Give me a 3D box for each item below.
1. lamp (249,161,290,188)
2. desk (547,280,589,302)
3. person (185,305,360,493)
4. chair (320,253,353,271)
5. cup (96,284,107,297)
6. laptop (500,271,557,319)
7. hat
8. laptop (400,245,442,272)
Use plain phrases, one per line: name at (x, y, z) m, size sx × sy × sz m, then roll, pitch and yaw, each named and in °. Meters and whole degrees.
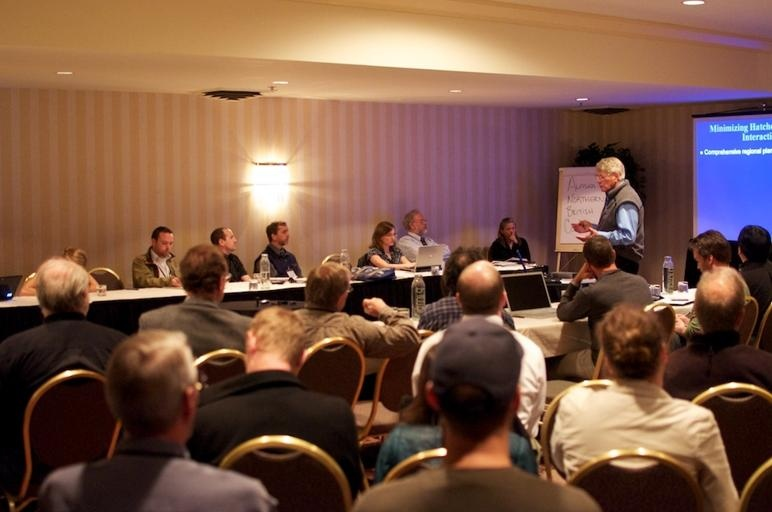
lamp at (-1.520, -1.095, 8.250) m, size 0.585 × 0.410 × 0.304 m, roll -2°, pitch 11°, yaw -16°
desk at (1.616, 0.315, 5.560) m, size 0.183 × 0.241 × 0.346 m, roll 0°, pitch 2°, yaw 42°
person at (-0.380, 0.582, 2.267) m, size 0.595 × 0.782 × 0.364 m, roll 0°, pitch 14°, yaw -9°
chair at (-0.460, 0.041, 6.318) m, size 0.297 × 0.231 × 0.306 m, roll 1°, pitch -3°, yaw 7°
cup at (-2.408, 0.294, 5.257) m, size 0.092 × 0.102 × 0.095 m, roll 1°, pitch -4°, yaw 0°
laptop at (1.148, 0.310, 4.975) m, size 0.421 × 0.265 × 0.362 m, roll -4°, pitch 6°, yaw -41°
hat at (0.237, 0.255, 1.562) m, size 0.150 × 0.116 × 0.220 m, roll -1°, pitch 25°, yaw 11°
laptop at (0.400, 0.054, 6.869) m, size 0.254 × 0.229 × 0.367 m, roll 21°, pitch 14°, yaw 41°
